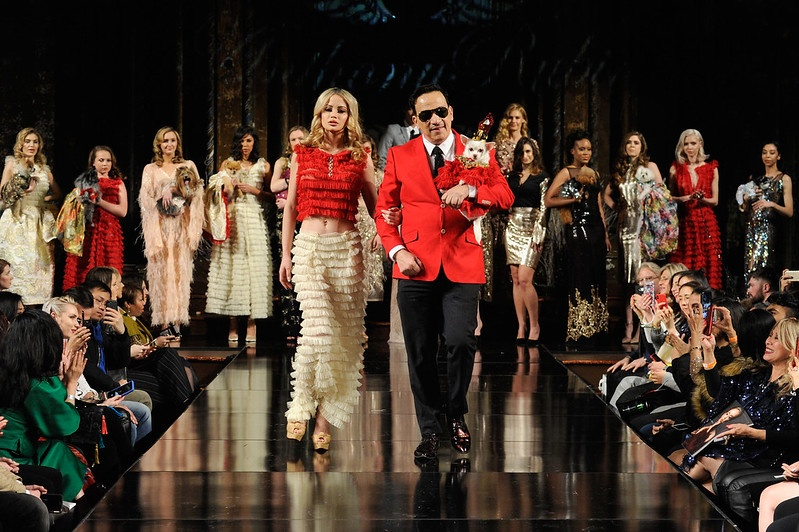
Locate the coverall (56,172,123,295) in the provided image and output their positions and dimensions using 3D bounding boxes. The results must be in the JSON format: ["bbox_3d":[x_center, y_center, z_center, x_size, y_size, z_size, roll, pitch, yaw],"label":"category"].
[{"bbox_3d":[-2.953,-0.242,9.049,0.586,1.507,0.634,-6,-17,30],"label":"coverall"}]

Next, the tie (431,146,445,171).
[{"bbox_3d":[0.251,-0.674,5.542,0.044,0.190,0.048,-4,-33,6],"label":"tie"}]

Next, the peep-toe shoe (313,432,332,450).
[{"bbox_3d":[-0.499,1.115,5.668,0.097,0.079,0.107,0,-21,-2],"label":"peep-toe shoe"}]

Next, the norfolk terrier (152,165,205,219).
[{"bbox_3d":[-2.190,-0.754,8.802,0.442,0.454,0.154,-3,10,-15],"label":"norfolk terrier"}]

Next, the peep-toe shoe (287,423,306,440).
[{"bbox_3d":[-0.677,1.069,5.829,0.098,0.128,0.058,9,-7,1],"label":"peep-toe shoe"}]

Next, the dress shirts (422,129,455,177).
[{"bbox_3d":[0.255,-0.744,5.603,0.159,0.205,0.109,-3,2,2],"label":"dress shirts"}]

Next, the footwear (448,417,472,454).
[{"bbox_3d":[0.379,1.073,5.617,0.097,0.243,0.104,-11,-42,-3],"label":"footwear"}]
